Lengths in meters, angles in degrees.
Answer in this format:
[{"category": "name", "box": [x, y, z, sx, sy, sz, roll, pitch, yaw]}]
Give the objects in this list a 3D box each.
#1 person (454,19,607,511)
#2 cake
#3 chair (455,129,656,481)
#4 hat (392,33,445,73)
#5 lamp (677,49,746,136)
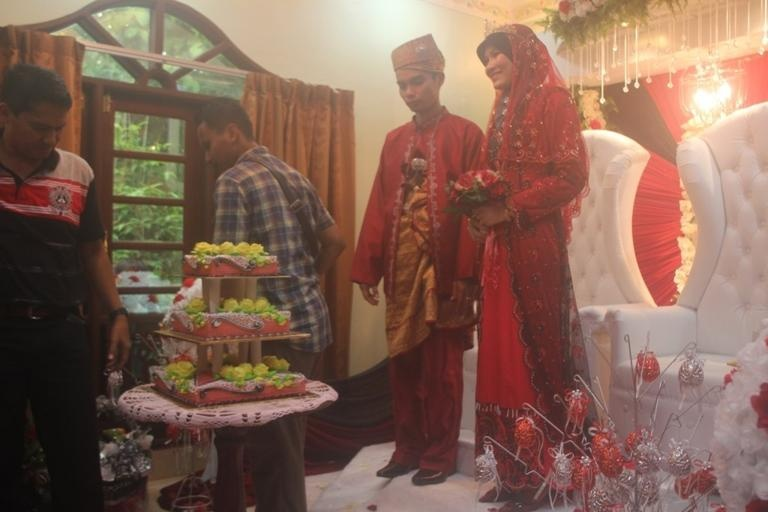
[{"category": "person", "box": [0.699, 0.055, 2.854, 0.699, 2.106, 0.366, -6, -3, 20]}, {"category": "cake", "box": [-0.689, 0.277, 2.727, 0.724, 0.776, 0.657, 0, -2, -39]}, {"category": "chair", "box": [1.194, 0.260, 4.314, 1.311, 2.203, 1.634, -7, 5, -36]}, {"category": "hat", "box": [0.183, -1.170, 3.428, 0.273, 0.203, 0.239, -16, 7, -38]}, {"category": "lamp", "box": [2.857, -1.329, 4.952, 0.510, 0.807, 0.504, 1, -4, 0]}]
